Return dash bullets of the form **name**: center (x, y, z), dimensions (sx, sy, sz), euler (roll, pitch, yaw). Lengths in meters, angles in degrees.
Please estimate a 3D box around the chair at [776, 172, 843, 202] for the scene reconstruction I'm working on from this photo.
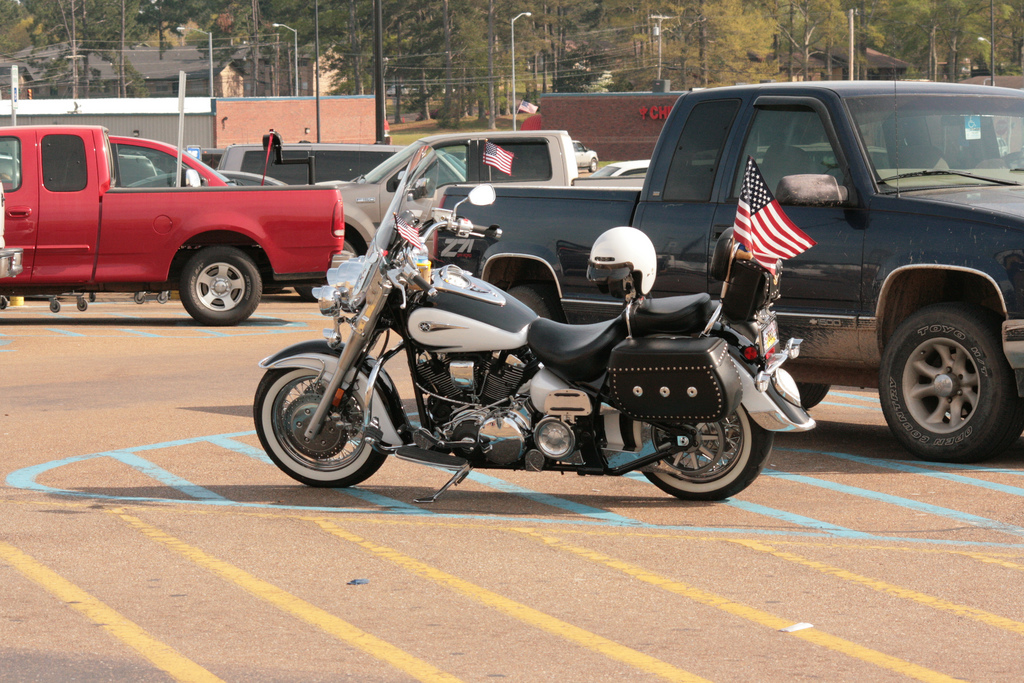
- **chair**: center (2.244, -1.139, 9.450), dimensions (0.320, 0.128, 0.299), euler (1, 4, 3)

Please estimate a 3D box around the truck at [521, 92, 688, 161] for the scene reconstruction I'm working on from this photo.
- **truck**: center (9.589, -15.816, 91.818), dimensions (5.766, 4.944, 16.989), euler (-10, 14, -38)

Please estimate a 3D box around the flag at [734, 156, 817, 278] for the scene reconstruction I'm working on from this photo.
- **flag**: center (1.626, -0.793, 7.889), dimensions (0.511, 0.730, 0.414), euler (6, 12, 31)

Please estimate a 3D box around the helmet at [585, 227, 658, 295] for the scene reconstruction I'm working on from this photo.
- **helmet**: center (0.715, -0.535, 8.367), dimensions (0.420, 0.388, 0.531), euler (8, 10, 28)

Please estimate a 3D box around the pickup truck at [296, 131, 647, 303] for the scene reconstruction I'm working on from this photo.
- **pickup truck**: center (-0.070, -1.909, 19.339), dimensions (3.829, 2.336, 6.467), euler (-1, 5, -25)
